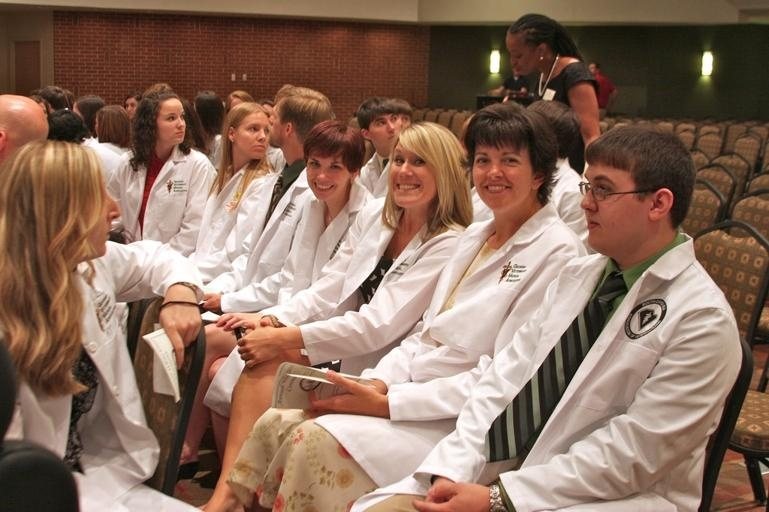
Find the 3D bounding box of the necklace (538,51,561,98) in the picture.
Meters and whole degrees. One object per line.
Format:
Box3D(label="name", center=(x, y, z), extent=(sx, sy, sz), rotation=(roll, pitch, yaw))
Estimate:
Box3D(label="necklace", center=(1.058, -1.150, 3.887), extent=(0.059, 0.250, 0.184), rotation=(20, 3, 22))
